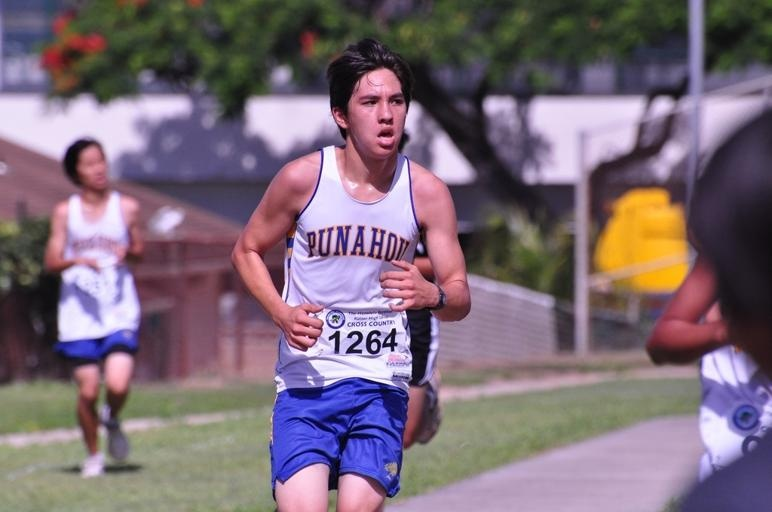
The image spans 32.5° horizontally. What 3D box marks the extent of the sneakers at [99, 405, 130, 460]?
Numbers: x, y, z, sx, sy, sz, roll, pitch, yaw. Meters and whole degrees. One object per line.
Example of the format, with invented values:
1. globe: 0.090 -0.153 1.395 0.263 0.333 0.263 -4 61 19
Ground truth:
1. sneakers: -1.968 1.328 9.851 0.165 0.464 0.181 -20 10 -18

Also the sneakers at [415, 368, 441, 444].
1. sneakers: 0.338 1.141 9.850 0.185 0.559 0.239 6 16 6

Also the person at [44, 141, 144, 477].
1. person: -2.123 0.373 9.788 0.713 2.380 0.688 -3 14 -10
